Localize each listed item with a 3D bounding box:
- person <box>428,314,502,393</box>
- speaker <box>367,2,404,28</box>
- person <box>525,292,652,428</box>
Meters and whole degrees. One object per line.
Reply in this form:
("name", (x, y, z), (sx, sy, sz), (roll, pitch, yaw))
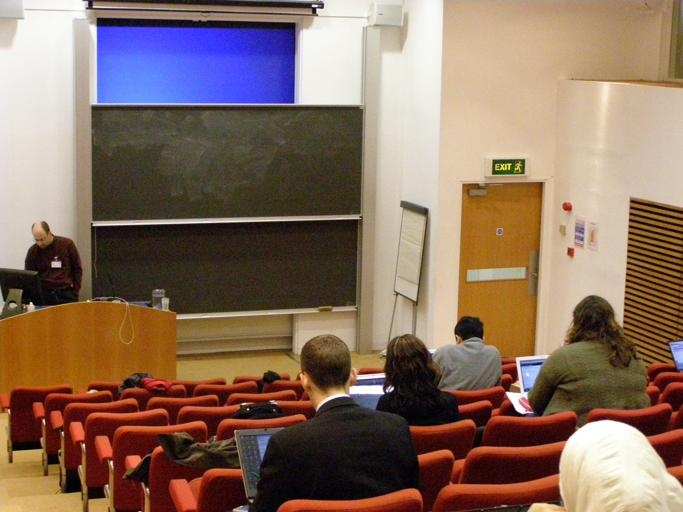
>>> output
("person", (1.004, 0.887, 4.937), (0.523, 0.783, 0.418), (2, -1, 2))
("speaker", (0.593, -3.246, 8.524), (0.349, 0.243, 0.363), (0, 6, -8))
("person", (1.601, 0.668, 4.046), (0.672, 0.790, 0.452), (-1, 2, -13))
